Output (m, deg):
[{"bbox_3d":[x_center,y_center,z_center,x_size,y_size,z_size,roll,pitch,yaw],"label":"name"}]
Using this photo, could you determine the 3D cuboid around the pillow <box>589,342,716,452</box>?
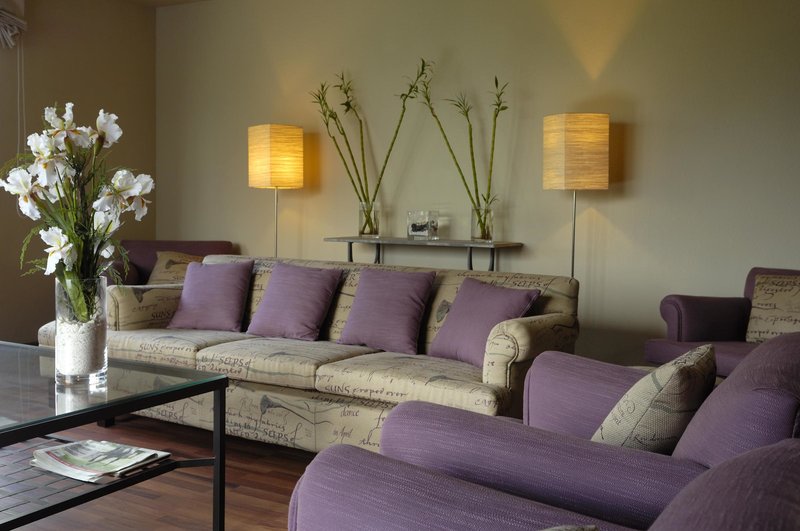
[{"bbox_3d":[0.769,0.386,1.654,0.199,0.308,0.356,6,12,41],"label":"pillow"}]

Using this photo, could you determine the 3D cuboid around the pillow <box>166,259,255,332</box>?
[{"bbox_3d":[-1.318,0.205,3.979,0.561,0.456,0.298,1,6,17],"label":"pillow"}]

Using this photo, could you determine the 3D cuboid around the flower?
[{"bbox_3d":[-1.213,-0.193,2.145,0.500,0.829,0.215,2,5,-15],"label":"flower"}]

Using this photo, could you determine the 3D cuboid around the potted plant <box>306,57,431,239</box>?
[{"bbox_3d":[-0.412,-1.032,5.632,1.553,1.712,1.342,-1,4,2],"label":"potted plant"}]

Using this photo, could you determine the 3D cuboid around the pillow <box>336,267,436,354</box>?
[{"bbox_3d":[-0.099,0.273,3.547,0.611,0.537,0.183,5,-20,34],"label":"pillow"}]

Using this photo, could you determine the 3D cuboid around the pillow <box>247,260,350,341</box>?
[{"bbox_3d":[-0.658,0.232,3.693,0.545,0.487,0.165,7,-20,31],"label":"pillow"}]

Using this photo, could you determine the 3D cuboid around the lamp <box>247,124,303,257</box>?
[{"bbox_3d":[-1.146,-0.494,5.277,0.535,1.515,0.516,2,12,-2],"label":"lamp"}]

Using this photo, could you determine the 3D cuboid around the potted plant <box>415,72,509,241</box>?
[{"bbox_3d":[0.485,-0.934,4.776,0.746,1.422,0.279,6,5,30],"label":"potted plant"}]
